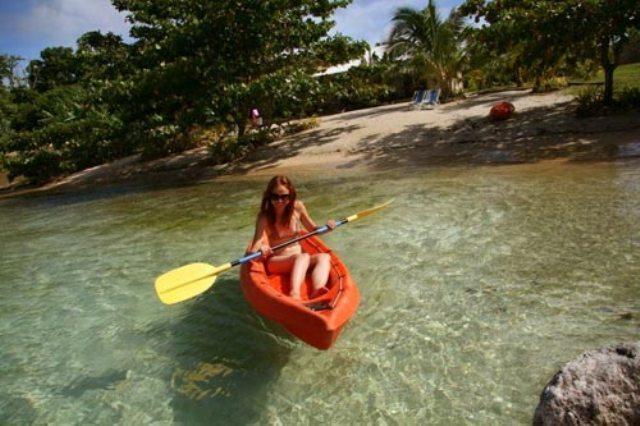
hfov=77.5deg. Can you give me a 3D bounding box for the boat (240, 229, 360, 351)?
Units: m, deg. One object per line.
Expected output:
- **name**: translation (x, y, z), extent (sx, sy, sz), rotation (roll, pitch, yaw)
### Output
- **boat**: translation (-0.403, 1.011, 6.100), extent (1.628, 0.702, 2.609), rotation (-10, 32, -22)
